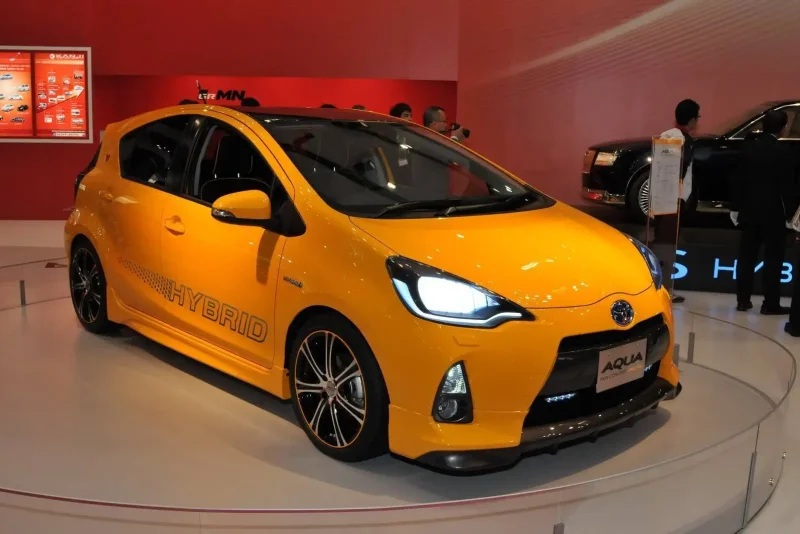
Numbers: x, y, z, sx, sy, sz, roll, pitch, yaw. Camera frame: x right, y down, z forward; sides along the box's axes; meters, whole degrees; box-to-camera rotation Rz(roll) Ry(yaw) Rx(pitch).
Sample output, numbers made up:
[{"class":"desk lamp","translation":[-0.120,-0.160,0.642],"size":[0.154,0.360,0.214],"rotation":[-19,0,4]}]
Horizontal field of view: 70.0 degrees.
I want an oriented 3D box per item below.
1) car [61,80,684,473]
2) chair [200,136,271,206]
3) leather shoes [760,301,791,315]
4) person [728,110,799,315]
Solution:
[{"class":"car","translation":[-0.388,0.004,3.390],"size":[3.140,1.416,1.835],"rotation":[13,17,43]},{"class":"chair","translation":[-0.949,-0.561,3.299],"size":[0.349,0.482,0.519],"rotation":[-1,16,-21]},{"class":"leather shoes","translation":[3.647,0.413,5.615],"size":[0.270,0.113,0.118],"rotation":[-5,14,-18]},{"class":"person","translation":[3.560,-0.540,5.613],"size":[0.514,1.929,0.531],"rotation":[2,12,5]}]
